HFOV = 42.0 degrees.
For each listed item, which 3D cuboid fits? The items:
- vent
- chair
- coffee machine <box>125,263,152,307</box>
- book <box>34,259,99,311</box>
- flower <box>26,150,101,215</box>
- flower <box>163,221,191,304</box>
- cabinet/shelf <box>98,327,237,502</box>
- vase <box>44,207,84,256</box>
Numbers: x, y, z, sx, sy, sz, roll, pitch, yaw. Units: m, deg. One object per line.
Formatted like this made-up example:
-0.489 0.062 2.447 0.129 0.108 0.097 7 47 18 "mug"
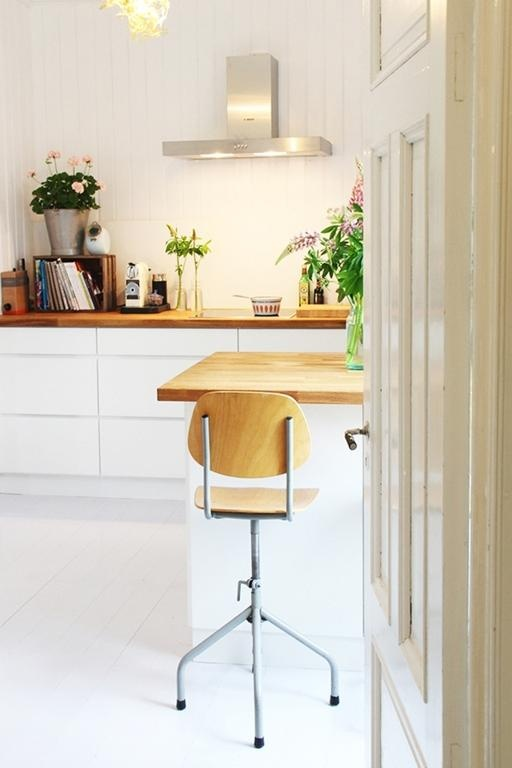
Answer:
-0.030 -1.688 4.219 0.969 0.739 0.547 1 -3 9 "vent"
0.001 0.499 2.037 0.439 1.120 0.469 7 16 25 "chair"
-0.752 -0.620 4.271 0.187 0.383 0.251 0 3 -8 "coffee machine"
-1.214 -0.634 4.321 0.392 0.332 0.123 0 6 6 "book"
-1.226 -1.299 4.290 0.413 0.357 0.413 -7 13 -36 "flower"
-0.509 -0.777 4.408 0.172 0.553 0.225 -1 6 -7 "flower"
-0.480 0.094 4.202 0.982 1.227 0.733 0 2 2 "cabinet/shelf"
-1.223 -0.997 4.375 0.253 0.302 0.261 -6 15 -32 "vase"
